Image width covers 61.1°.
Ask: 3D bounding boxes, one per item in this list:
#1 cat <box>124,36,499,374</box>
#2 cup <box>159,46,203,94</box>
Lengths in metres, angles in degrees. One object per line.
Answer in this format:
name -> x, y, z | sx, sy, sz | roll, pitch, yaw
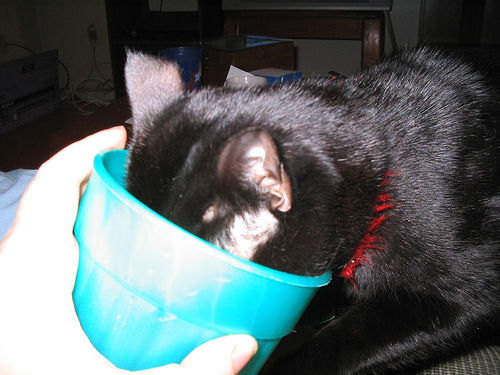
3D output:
cat -> 0.050, 0.021, 0.345 | 0.309, 0.268, 0.116 | 10, 22, 10
cup -> -0.149, -0.287, 1.028 | 0.071, 0.108, 0.073 | 4, 41, -3
